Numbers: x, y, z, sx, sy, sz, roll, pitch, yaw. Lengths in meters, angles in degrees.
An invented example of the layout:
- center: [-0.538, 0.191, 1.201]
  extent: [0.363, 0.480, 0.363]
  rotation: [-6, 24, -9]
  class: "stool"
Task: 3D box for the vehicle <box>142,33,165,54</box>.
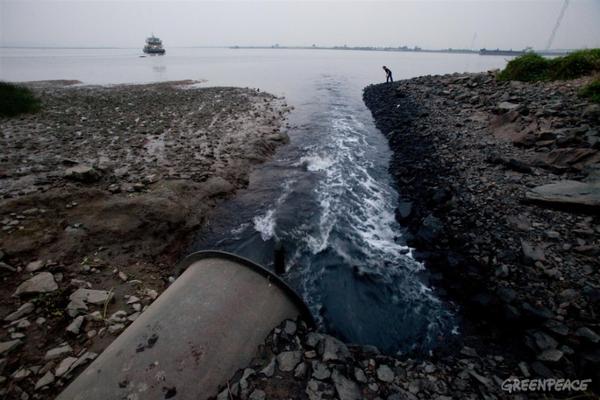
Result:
- center: [-31.822, -33.512, 76.698]
  extent: [3.478, 3.833, 6.796]
  rotation: [-6, 29, -14]
  class: "vehicle"
